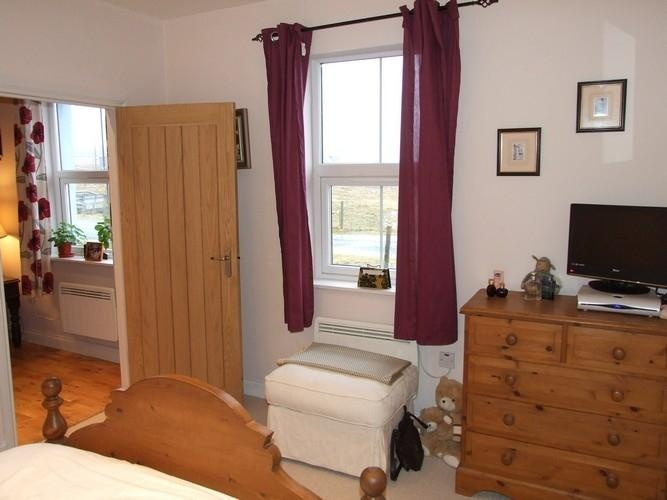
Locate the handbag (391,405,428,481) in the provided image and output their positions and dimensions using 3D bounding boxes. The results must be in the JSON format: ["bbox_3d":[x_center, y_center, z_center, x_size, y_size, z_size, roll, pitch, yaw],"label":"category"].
[{"bbox_3d":[0.487,1.248,3.435,0.196,0.396,0.349,3,9,18],"label":"handbag"}]

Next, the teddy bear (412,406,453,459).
[{"bbox_3d":[0.694,1.242,3.649,0.303,0.368,0.258,-5,1,23],"label":"teddy bear"}]

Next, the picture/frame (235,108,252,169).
[{"bbox_3d":[-0.716,-0.904,4.149,0.039,0.528,0.514,0,0,-19],"label":"picture/frame"}]

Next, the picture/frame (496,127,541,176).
[{"bbox_3d":[1.220,-0.651,3.429,0.312,0.374,0.026,0,6,12],"label":"picture/frame"}]

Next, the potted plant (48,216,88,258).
[{"bbox_3d":[-2.633,-0.117,5.276,0.332,0.346,0.339,2,-1,-14],"label":"potted plant"}]

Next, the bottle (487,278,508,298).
[{"bbox_3d":[1.056,0.246,3.437,0.150,0.128,0.099,1,7,10],"label":"bottle"}]

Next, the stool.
[{"bbox_3d":[0.016,1.056,3.354,0.782,0.557,0.794,5,10,26],"label":"stool"}]

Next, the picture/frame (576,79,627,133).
[{"bbox_3d":[1.661,-0.895,3.229,0.314,0.372,0.028,3,8,25],"label":"picture/frame"}]
